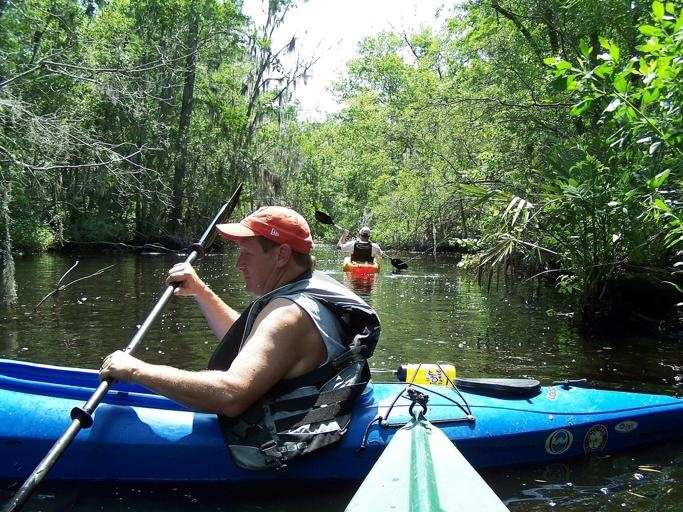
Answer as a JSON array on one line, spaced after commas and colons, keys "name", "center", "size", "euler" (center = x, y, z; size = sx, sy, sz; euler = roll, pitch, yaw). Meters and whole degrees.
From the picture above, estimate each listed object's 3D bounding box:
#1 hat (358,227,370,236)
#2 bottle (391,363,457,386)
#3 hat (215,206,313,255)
[{"name": "hat", "center": [0.603, -0.596, 13.407], "size": [0.214, 0.124, 0.276], "euler": [3, 13, -19]}, {"name": "bottle", "center": [0.543, 0.788, 3.652], "size": [0.459, 0.116, 0.143], "euler": [2, 12, 8]}, {"name": "hat", "center": [-0.428, -0.143, 3.127], "size": [0.508, 0.185, 0.270], "euler": [6, -3, -3]}]
